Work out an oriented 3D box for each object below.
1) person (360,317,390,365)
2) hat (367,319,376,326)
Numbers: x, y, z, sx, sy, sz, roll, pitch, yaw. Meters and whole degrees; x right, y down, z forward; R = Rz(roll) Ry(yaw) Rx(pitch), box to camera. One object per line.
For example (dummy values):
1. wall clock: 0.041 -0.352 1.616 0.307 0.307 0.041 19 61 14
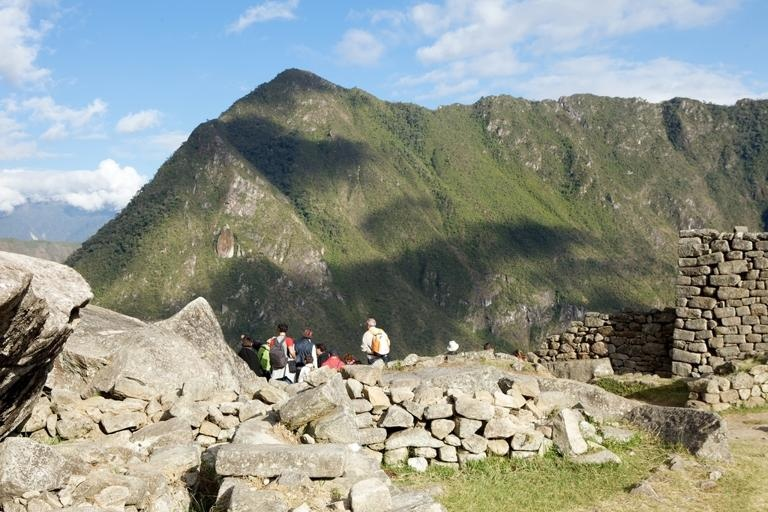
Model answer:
1. person: -0.464 3.471 30.369 0.949 1.418 1.508 -2 -6 -31
2. hat: -0.492 2.669 30.179 0.320 0.385 0.391 -3 -6 -10
